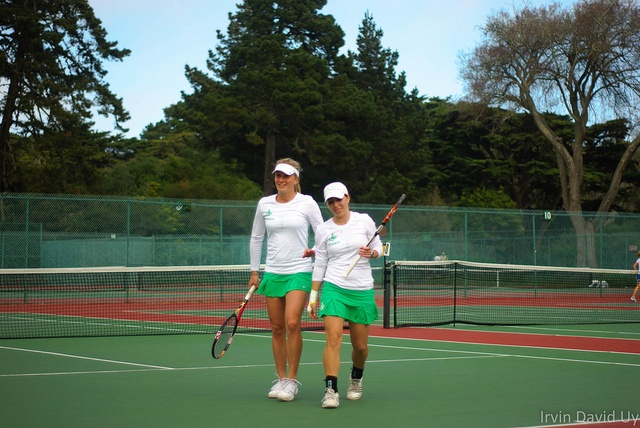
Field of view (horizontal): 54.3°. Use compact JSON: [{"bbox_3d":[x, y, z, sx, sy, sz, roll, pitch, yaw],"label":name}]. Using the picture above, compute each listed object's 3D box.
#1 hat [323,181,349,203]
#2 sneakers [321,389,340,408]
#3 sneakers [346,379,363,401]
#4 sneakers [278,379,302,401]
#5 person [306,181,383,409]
[{"bbox_3d":[0.228,-0.312,9.012,0.314,0.317,0.493,1,-5,2],"label":"hat"},{"bbox_3d":[0.143,2.575,8.657,0.181,0.201,0.420,-1,-11,1],"label":"sneakers"},{"bbox_3d":[0.500,2.583,9.107,0.233,0.289,0.690,-1,-4,5],"label":"sneakers"},{"bbox_3d":[-0.471,2.521,8.935,0.266,0.311,0.159,2,-4,-20],"label":"sneakers"},{"bbox_3d":[0.337,1.115,8.920,0.996,3.176,0.564,1,-4,-5],"label":"person"}]
